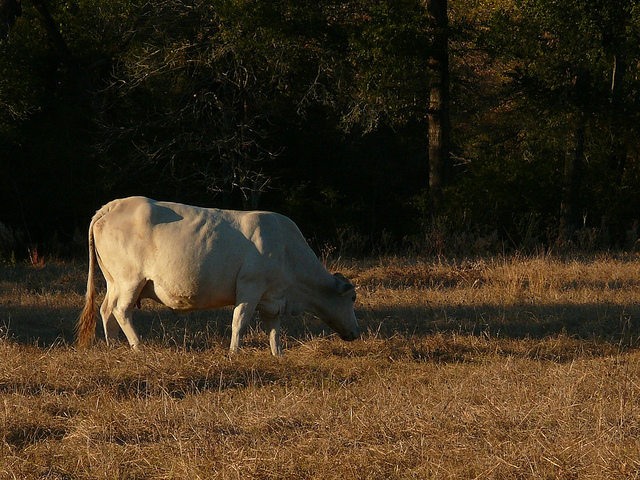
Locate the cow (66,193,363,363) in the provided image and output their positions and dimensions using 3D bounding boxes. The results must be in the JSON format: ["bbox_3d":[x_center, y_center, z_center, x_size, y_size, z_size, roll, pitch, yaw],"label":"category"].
[{"bbox_3d":[-1.546,0.804,18.592,4.575,2.780,1.482,2,-3,-6],"label":"cow"}]
